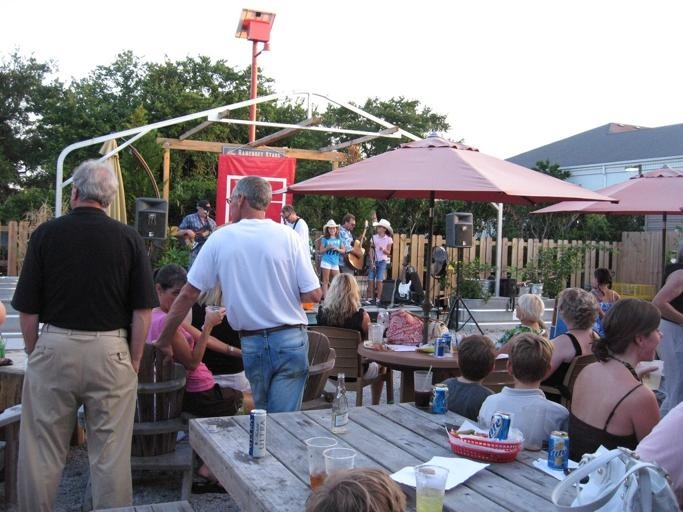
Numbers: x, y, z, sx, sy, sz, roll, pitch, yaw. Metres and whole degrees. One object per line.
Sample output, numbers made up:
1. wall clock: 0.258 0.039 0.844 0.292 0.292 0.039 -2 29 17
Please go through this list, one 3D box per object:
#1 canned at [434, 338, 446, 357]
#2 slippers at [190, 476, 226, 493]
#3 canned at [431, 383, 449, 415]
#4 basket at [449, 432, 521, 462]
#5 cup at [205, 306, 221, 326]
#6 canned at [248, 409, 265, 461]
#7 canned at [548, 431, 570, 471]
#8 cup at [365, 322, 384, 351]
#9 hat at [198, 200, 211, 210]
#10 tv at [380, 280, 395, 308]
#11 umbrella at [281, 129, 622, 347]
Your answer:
1. canned: 0.820 0.764 5.681 0.110 0.220 0.117 0 0 20
2. slippers: -1.022 1.746 5.120 0.212 0.128 0.176 2 -2 8
3. canned: 0.624 0.923 4.340 0.134 0.239 0.140 1 -5 -9
4. basket: 0.760 1.029 3.678 0.233 0.089 0.181 7 -2 10
5. cup: -0.981 0.453 5.149 0.122 0.138 0.132 2 -4 0
6. canned: -0.456 0.947 3.651 0.089 0.242 0.165 1 3 -7
7. canned: 1.151 1.033 3.589 0.108 0.196 0.079 2 3 8
8. cup: 0.272 0.735 6.215 0.171 0.286 0.186 2 9 0
9. hat: -2.399 -0.903 11.656 0.208 0.129 0.151 14 8 43
10. tv: 0.885 0.762 13.299 0.277 0.551 0.315 6 -34 6
11. umbrella: 0.887 -0.356 6.384 2.088 1.614 2.190 0 2 0
